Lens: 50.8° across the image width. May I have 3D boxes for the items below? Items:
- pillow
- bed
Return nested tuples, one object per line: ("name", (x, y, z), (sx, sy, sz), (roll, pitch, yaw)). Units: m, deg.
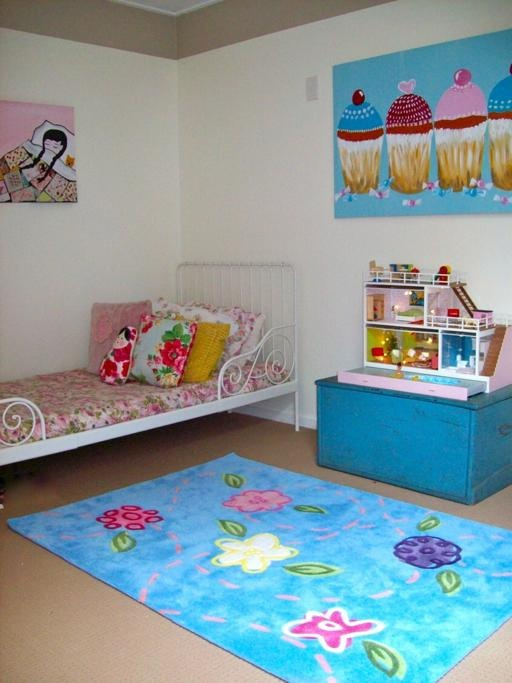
("pillow", (-0.544, -0.114, 3.437), (0.719, 0.205, 0.670), (6, 32, 25))
("bed", (-0.612, 0.047, 3.249), (1.125, 1.043, 1.633), (4, 8, 40))
